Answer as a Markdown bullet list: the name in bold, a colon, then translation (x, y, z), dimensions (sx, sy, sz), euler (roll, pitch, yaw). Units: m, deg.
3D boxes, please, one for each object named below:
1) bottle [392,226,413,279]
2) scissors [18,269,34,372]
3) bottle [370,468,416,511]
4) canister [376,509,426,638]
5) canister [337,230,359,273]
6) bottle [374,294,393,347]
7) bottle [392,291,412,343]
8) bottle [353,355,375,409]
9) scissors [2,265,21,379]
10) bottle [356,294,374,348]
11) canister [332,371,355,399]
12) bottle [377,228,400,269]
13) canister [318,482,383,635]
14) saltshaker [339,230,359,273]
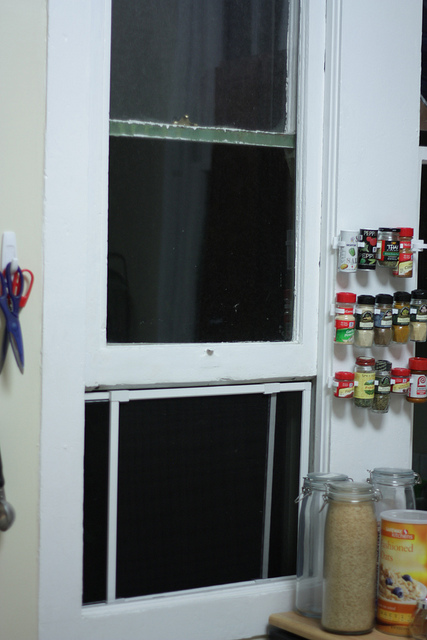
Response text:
- **bottle**: translation (0.414, -0.148, 1.763), dimensions (0.036, 0.114, 0.039), euler (0, 18, 0)
- **scissors**: translation (-0.339, -0.005, 1.454), dimensions (0.009, 0.150, 0.044), euler (1, 5, 30)
- **bottle**: translation (0.370, 0.335, 1.701), dimensions (0.071, 0.133, 0.074), euler (-2, 7, 0)
- **canister**: translation (0.346, 0.474, 1.508), dimensions (0.099, 0.214, 0.044), euler (-1, 1, 27)
- **canister**: translation (0.285, -0.146, 1.716), dimensions (0.055, 0.090, 0.061), euler (1, 6, -7)
- **bottle**: translation (0.361, 0.002, 1.727), dimensions (0.038, 0.109, 0.041), euler (-1, 1, 0)
- **bottle**: translation (0.406, -0.004, 1.748), dimensions (0.040, 0.107, 0.030), euler (-1, 1, 10)
- **bottle**: translation (0.326, 0.130, 1.736), dimensions (0.041, 0.106, 0.062), euler (-1, 1, 27)
- **scissors**: translation (-0.355, -0.005, 1.429), dimensions (0.035, 0.169, 0.038), euler (-2, 1, -17)
- **bottle**: translation (0.323, 0.003, 1.711), dimensions (0.043, 0.107, 0.032), euler (-2, 1, -12)
- **canister**: translation (0.271, 0.136, 1.701), dimensions (0.043, 0.060, 0.048), euler (3, 1, 6)
- **bottle**: translation (0.367, -0.151, 1.755), dimensions (0.049, 0.096, 0.053), euler (1, 2, 0)
- **canister**: translation (0.251, 0.443, 1.507), dimensions (0.101, 0.273, 0.055), euler (-1, 1, 8)
- **saltshaker**: translation (0.285, -0.145, 1.704), dimensions (0.042, 0.087, 0.026), euler (-1, 1, 8)
